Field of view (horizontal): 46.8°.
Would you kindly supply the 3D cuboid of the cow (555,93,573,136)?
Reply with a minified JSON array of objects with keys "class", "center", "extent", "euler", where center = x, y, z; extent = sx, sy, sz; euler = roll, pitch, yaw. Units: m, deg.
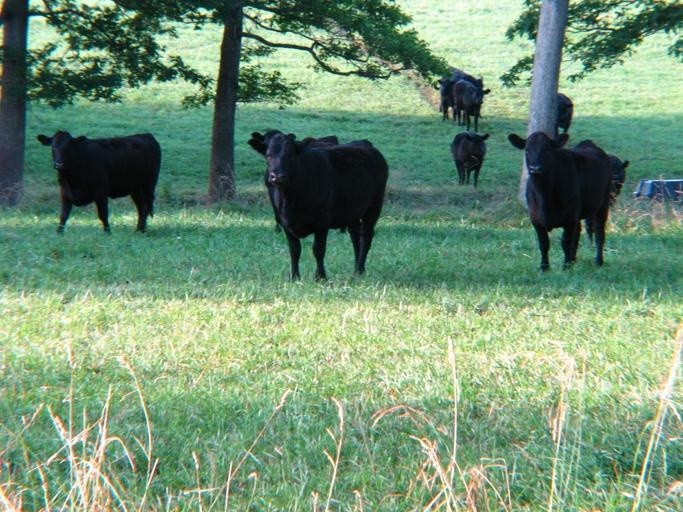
[{"class":"cow","center":[7.951,-5.157,28.121],"extent":[0.486,1.342,1.478],"euler":[4,9,15]}]

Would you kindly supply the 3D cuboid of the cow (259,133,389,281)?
[{"class":"cow","center":[-0.280,-0.721,12.681],"extent":[0.870,1.748,2.734],"euler":[3,3,25]}]

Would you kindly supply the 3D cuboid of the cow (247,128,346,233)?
[{"class":"cow","center":[-0.816,-1.402,13.509],"extent":[0.604,1.675,2.443],"euler":[9,13,42]}]

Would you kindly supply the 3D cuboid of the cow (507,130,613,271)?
[{"class":"cow","center":[3.764,-0.968,13.060],"extent":[1.236,2.125,2.432],"euler":[8,11,35]}]
